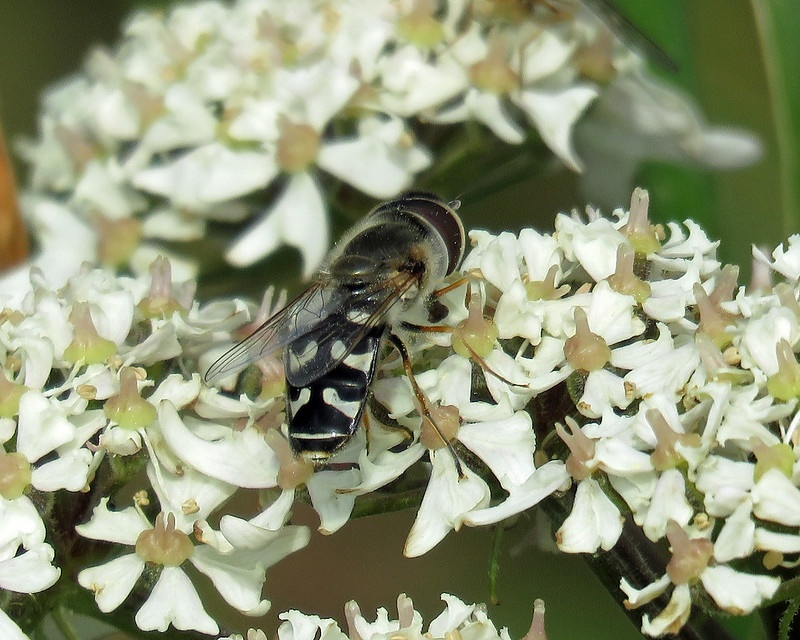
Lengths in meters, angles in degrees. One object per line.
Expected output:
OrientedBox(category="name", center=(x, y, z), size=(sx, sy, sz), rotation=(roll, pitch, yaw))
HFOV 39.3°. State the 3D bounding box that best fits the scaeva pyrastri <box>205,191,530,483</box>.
OrientedBox(category="scaeva pyrastri", center=(-0.100, 0.044, 1.214), size=(0.230, 0.133, 0.352), rotation=(6, 19, -16))
